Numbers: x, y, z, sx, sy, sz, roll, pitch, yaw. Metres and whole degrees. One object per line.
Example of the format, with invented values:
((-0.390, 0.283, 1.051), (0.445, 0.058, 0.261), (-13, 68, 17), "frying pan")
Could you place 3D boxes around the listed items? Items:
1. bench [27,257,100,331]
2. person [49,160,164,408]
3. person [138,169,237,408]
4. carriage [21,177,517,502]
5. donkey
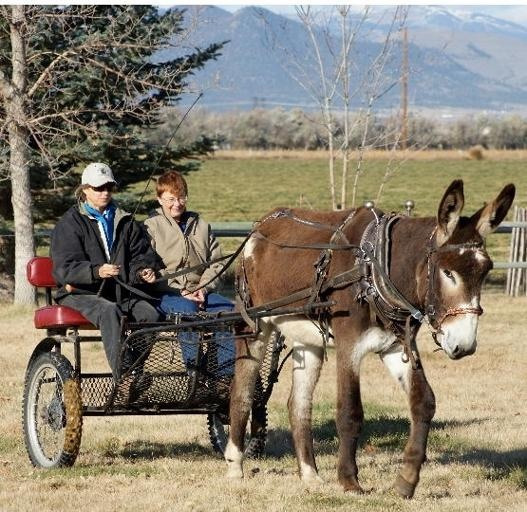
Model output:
((-2.168, 0.393, 17.005), (0.531, 0.829, 0.672), (3, -8, -40), "bench")
((-1.659, 0.256, 16.952), (1.025, 2.507, 1.338), (-3, 5, -18), "person")
((-0.758, 0.254, 17.126), (0.708, 2.333, 1.002), (0, 1, -29), "person")
((0.219, 0.928, 16.964), (5.329, 3.394, 2.562), (-2, -6, 33), "carriage")
((0.996, 0.928, 16.538), (1.065, 3.288, 4.103), (3, -3, -35), "donkey")
